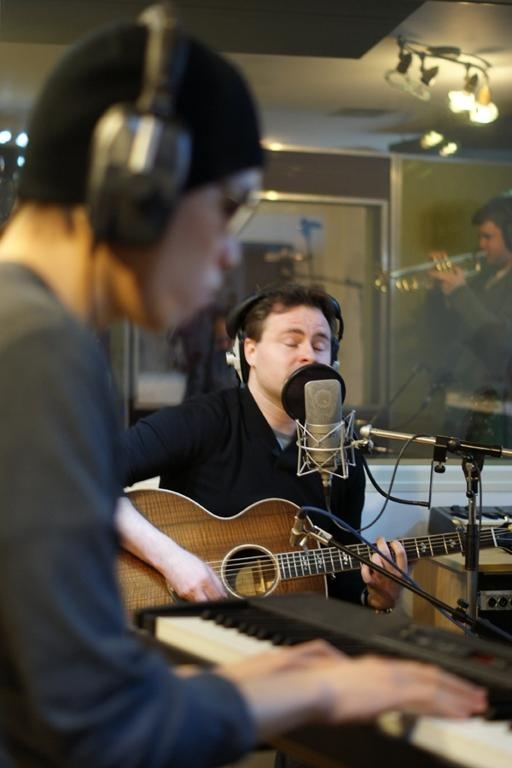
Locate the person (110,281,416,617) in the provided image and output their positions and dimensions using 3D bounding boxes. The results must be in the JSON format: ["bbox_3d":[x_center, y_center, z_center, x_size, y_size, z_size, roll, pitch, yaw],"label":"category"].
[{"bbox_3d":[0.028,0.160,1.878,0.726,0.873,0.629,19,-14,-36],"label":"person"}]

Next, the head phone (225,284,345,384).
[{"bbox_3d":[0.040,-0.142,1.971,0.259,0.228,0.314,1,12,-7],"label":"head phone"}]

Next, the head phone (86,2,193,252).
[{"bbox_3d":[-0.083,-0.177,0.533,0.066,0.155,0.102,-3,19,-23],"label":"head phone"}]

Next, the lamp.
[{"bbox_3d":[0.660,-1.054,2.535,0.418,0.204,0.142,13,2,-6],"label":"lamp"}]

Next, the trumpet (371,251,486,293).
[{"bbox_3d":[0.622,-0.423,2.716,0.494,0.144,0.247,-7,12,-32],"label":"trumpet"}]
